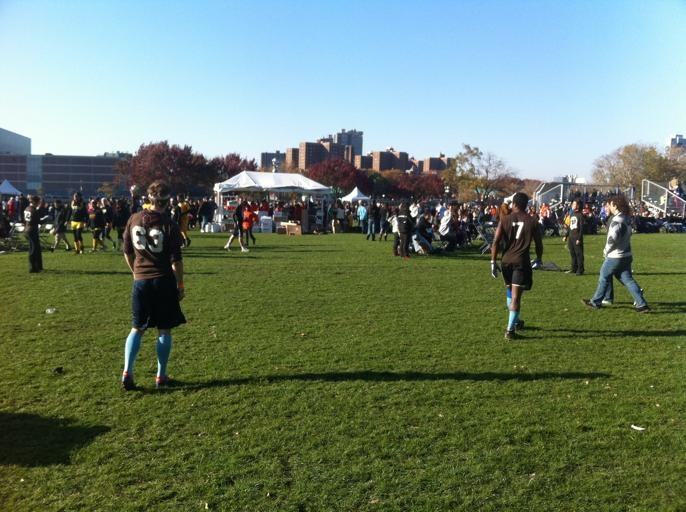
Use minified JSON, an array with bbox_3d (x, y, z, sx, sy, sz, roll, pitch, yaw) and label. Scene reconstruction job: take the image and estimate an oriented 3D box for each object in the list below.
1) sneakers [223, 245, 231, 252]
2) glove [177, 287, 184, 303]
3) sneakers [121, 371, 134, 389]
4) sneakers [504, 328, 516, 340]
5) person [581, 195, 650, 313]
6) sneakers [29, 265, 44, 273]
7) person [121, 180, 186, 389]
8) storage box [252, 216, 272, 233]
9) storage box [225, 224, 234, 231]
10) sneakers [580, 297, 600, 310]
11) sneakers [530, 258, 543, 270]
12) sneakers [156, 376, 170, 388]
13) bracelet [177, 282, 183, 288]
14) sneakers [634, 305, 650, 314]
[{"bbox_3d":[-3.785,-0.221,20.300,0.248,0.136,0.362,13,1,39],"label":"sneakers"},{"bbox_3d":[-1.937,0.458,7.320,0.104,0.195,0.186,2,-1,-6],"label":"glove"},{"bbox_3d":[-2.487,1.443,7.188,0.083,0.243,0.109,3,36,-4],"label":"sneakers"},{"bbox_3d":[2.389,1.135,8.970,0.112,0.176,0.340,-1,-6,12],"label":"sneakers"},{"bbox_3d":[4.628,-0.005,10.537,0.921,1.960,0.499,5,13,23],"label":"person"},{"bbox_3d":[-7.226,0.318,14.647,0.169,0.216,0.190,0,1,-6],"label":"sneakers"},{"bbox_3d":[-2.217,0.342,7.172,0.719,2.336,0.399,-3,12,-13],"label":"person"},{"bbox_3d":[-4.238,-1.419,31.743,0.897,1.033,0.990,2,8,18],"label":"storage box"},{"bbox_3d":[-5.742,-1.430,31.375,0.516,0.436,0.317,0,-3,4],"label":"storage box"},{"bbox_3d":[4.316,0.832,10.924,0.105,0.137,0.305,6,19,-26],"label":"sneakers"},{"bbox_3d":[3.900,0.190,12.623,0.230,0.150,0.345,3,37,31],"label":"sneakers"},{"bbox_3d":[-2.107,1.477,7.287,0.114,0.142,0.132,-1,2,10],"label":"sneakers"},{"bbox_3d":[-1.893,0.340,7.236,0.055,0.039,0.070,4,-21,-7],"label":"bracelet"},{"bbox_3d":[5.005,0.905,10.490,0.252,0.143,0.101,6,8,36],"label":"sneakers"}]
